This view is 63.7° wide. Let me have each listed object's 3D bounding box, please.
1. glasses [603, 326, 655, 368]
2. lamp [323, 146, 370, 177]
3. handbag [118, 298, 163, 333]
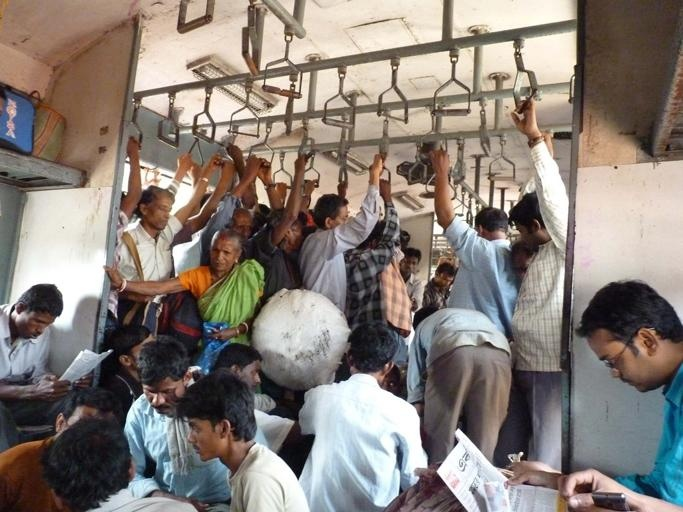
[{"bbox_3d":[0.970,0.311,1.869,0.036,0.133,0.129,44,-20,8],"label":"glasses"},{"bbox_3d":[0.103,-0.958,6.124,0.335,0.146,0.628,-4,-24,46],"label":"lamp"},{"bbox_3d":[-1.182,0.350,3.195,0.098,0.134,0.189,19,13,32],"label":"handbag"}]
